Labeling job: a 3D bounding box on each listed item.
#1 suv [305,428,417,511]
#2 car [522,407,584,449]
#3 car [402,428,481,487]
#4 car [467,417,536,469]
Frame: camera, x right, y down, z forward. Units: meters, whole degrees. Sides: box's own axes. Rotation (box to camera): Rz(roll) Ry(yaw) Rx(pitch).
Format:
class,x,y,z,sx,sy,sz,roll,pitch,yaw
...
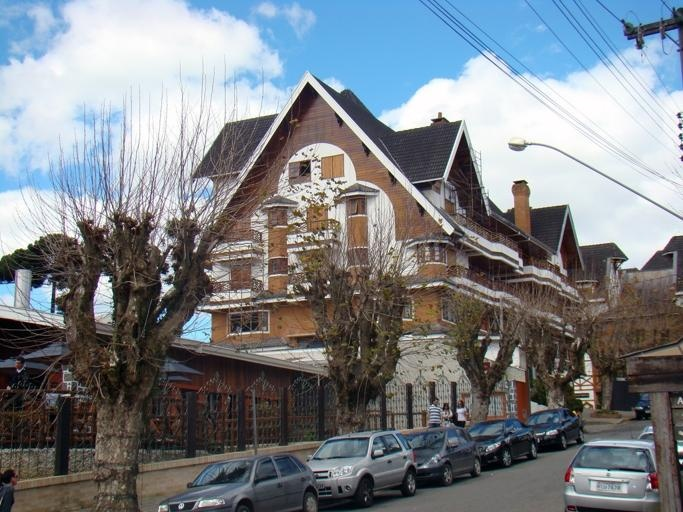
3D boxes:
class,x,y,z,sx,sy,sz,roll,pitch,yaw
suv,0.484,6.159,23.007,1.555,2.127,3.502,-16,-20,42
car,8.967,7.197,33.088,1.295,1.227,3.096,-10,-20,25
car,3.306,6.471,25.753,1.422,1.204,2.344,-11,-21,30
car,5.783,6.825,29.056,1.276,1.780,3.210,-16,-20,40
